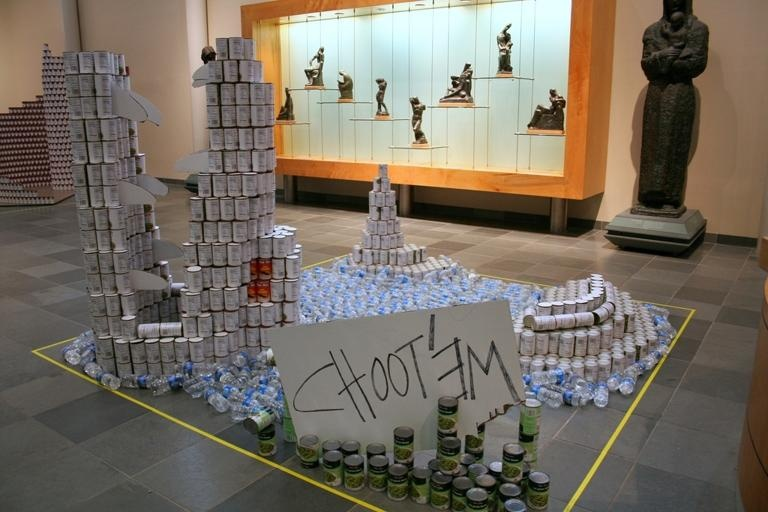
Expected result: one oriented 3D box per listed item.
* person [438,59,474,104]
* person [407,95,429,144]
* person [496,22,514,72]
[{"bbox_3d":[1.092,-2.543,7.836,0.670,0.679,0.457,5,34,8],"label":"person"},{"bbox_3d":[0.525,-2.053,8.150,0.251,0.707,0.376,0,14,2],"label":"person"},{"bbox_3d":[1.669,-2.841,7.358,0.223,0.680,0.348,2,14,10],"label":"person"}]
